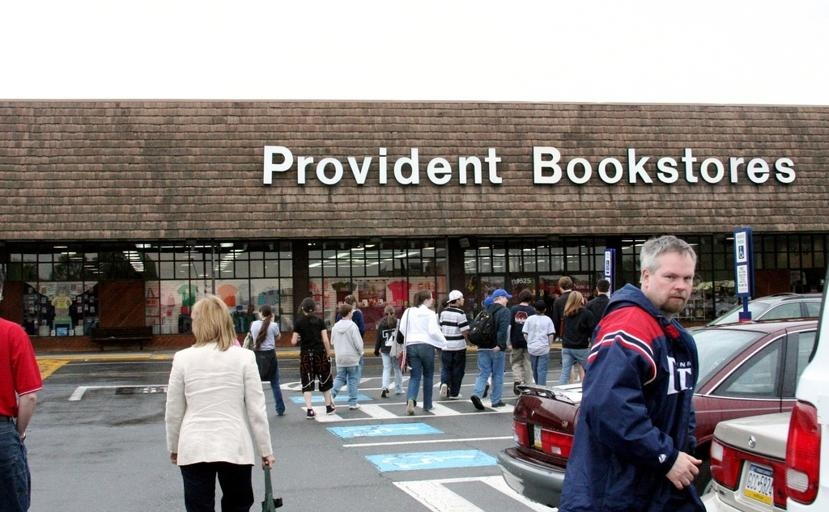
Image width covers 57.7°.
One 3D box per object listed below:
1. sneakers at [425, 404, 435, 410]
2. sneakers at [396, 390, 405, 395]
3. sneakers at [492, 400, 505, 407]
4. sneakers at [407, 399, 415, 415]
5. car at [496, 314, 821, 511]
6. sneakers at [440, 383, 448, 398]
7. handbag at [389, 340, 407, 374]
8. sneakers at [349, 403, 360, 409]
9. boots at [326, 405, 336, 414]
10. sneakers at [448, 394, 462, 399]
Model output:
[{"bbox_3d":[0.311,3.099,15.172,0.070,0.096,0.221,8,11,35],"label":"sneakers"},{"bbox_3d":[-0.336,3.188,17.459,0.087,0.105,0.262,2,0,21],"label":"sneakers"},{"bbox_3d":[1.711,3.038,15.428,0.308,0.132,0.110,-2,2,-32],"label":"sneakers"},{"bbox_3d":[-0.081,3.007,14.786,0.111,0.309,0.125,2,22,2],"label":"sneakers"},{"bbox_3d":[3.386,1.865,9.734,4.465,1.402,1.932,-5,0,-17],"label":"car"},{"bbox_3d":[0.637,2.978,16.500,0.131,0.319,0.123,2,-6,2],"label":"sneakers"},{"bbox_3d":[-0.331,2.162,16.323,0.289,0.709,0.424,-3,25,9],"label":"handbag"},{"bbox_3d":[-1.243,3.137,15.623,0.091,0.110,0.258,0,-1,17],"label":"sneakers"},{"bbox_3d":[-1.672,3.101,15.073,0.114,0.150,0.214,1,4,22],"label":"boots"},{"bbox_3d":[0.900,3.119,16.575,0.305,0.134,0.114,-3,-4,19],"label":"sneakers"}]
